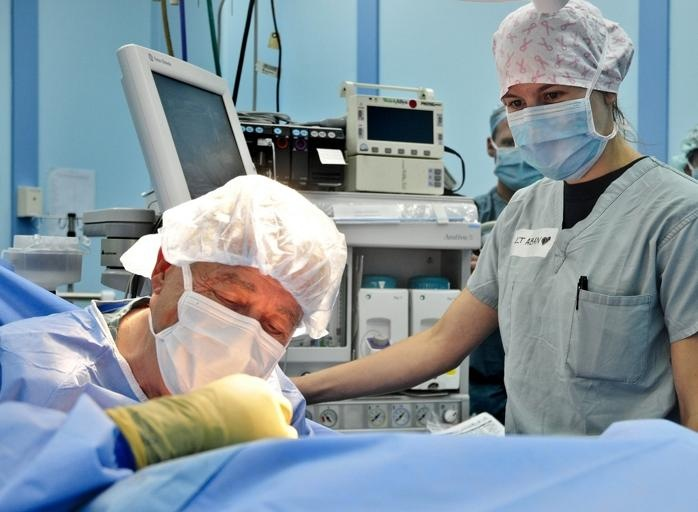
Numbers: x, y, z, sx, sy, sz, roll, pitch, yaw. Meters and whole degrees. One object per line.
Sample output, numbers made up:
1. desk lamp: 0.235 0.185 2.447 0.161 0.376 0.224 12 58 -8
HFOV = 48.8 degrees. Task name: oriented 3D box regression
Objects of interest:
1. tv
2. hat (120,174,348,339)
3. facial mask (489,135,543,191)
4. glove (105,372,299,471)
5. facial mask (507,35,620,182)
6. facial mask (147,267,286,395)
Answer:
1. tv: -0.479 -0.388 2.436 0.046 0.449 0.456 -21 -9 27
2. hat: -0.299 0.099 1.998 0.433 0.224 0.439 30 -41 -13
3. facial mask: 0.985 -0.563 4.568 0.336 0.267 0.407 4 -9 25
4. glove: -0.277 0.267 1.488 0.295 0.119 0.173 -7 29 -34
5. facial mask: 0.641 -0.432 2.372 0.398 0.262 0.341 -45 22 -20
6. facial mask: -0.358 0.215 1.997 0.258 0.196 0.301 16 1 -36
